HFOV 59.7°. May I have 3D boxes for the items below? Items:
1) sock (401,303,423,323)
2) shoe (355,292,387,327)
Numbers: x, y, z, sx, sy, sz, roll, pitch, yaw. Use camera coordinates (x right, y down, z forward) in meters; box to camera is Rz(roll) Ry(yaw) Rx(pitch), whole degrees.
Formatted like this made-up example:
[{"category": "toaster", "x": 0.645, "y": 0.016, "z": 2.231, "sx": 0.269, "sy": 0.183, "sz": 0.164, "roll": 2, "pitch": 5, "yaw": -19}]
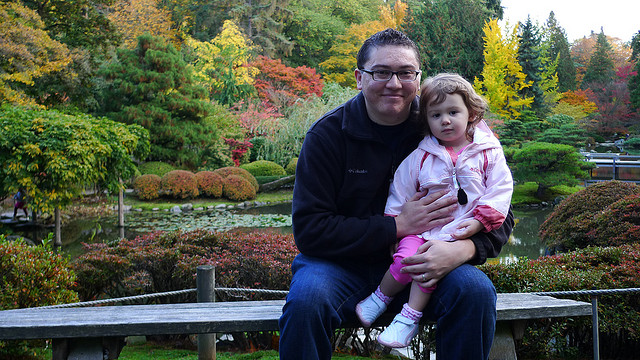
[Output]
[{"category": "sock", "x": 1.483, "y": 2.204, "z": 9.312, "sx": 0.332, "sy": 0.228, "sz": 0.273, "roll": 25, "pitch": -2, "yaw": 2}, {"category": "shoe", "x": 0.797, "y": 2.142, "z": 9.266, "sx": 0.319, "sy": 0.701, "sz": 0.296, "roll": 37, "pitch": -31, "yaw": 22}]
